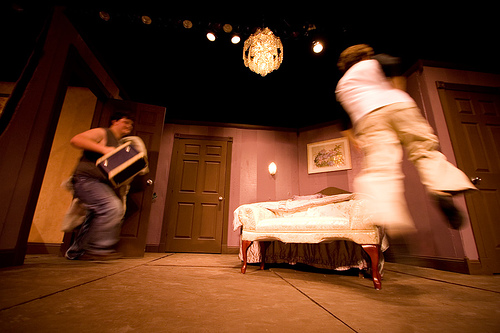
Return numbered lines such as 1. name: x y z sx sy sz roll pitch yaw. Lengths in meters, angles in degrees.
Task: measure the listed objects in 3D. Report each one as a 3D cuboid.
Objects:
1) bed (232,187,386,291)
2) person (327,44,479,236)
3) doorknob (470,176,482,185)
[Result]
1. bed: 0.976 0.989 4.354 2.119 1.327 1.255 -7 -14 31
2. person: 1.708 -0.530 3.673 1.207 2.679 0.865 -8 -33 -2
3. doorknob: 3.686 0.239 4.674 0.133 0.130 0.045 8 -4 0
